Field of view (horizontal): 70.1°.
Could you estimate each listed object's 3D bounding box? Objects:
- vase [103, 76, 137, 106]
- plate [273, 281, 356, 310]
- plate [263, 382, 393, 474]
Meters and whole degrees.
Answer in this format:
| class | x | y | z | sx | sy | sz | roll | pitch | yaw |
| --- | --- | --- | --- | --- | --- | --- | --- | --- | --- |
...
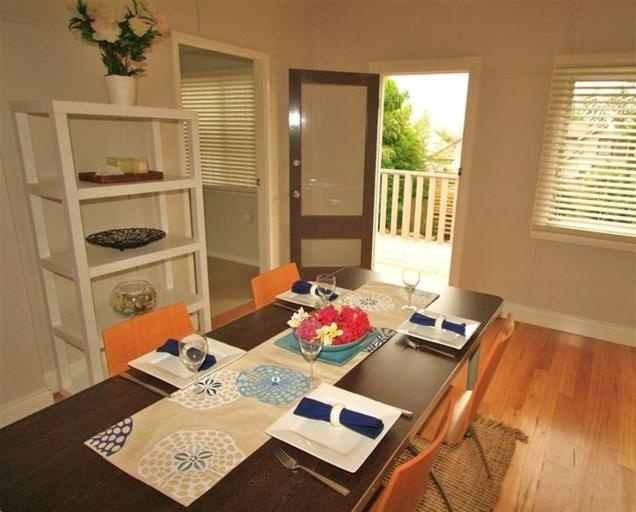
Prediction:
| class | x | y | z | sx | sy | sz | roll | pitch | yaw |
| --- | --- | --- | --- | --- | --- | --- | --- | --- | --- |
| vase | -1.079 | -0.900 | 2.510 | 0.164 | 0.148 | 0.153 | -4 | 18 | -15 |
| plate | -0.038 | 0.214 | 2.421 | 0.217 | 0.025 | 0.198 | 13 | 22 | 37 |
| plate | 0.036 | 0.565 | 1.488 | 0.244 | 0.037 | 0.249 | 13 | 27 | 30 |
